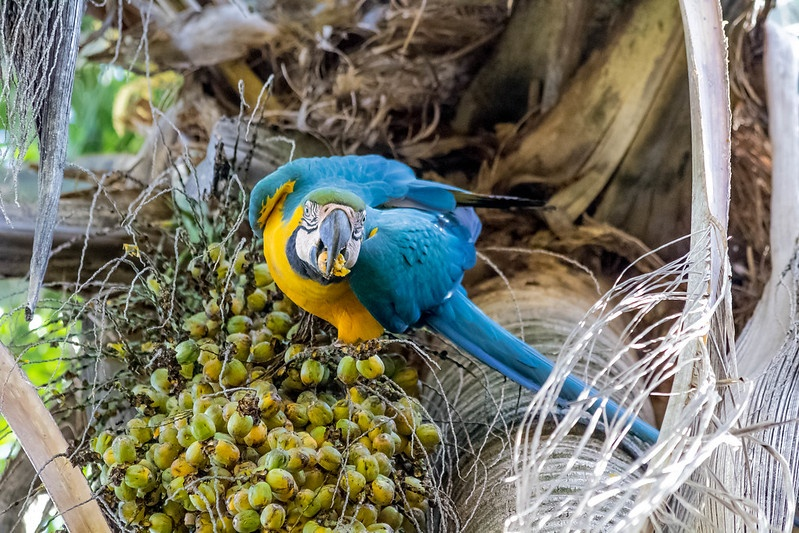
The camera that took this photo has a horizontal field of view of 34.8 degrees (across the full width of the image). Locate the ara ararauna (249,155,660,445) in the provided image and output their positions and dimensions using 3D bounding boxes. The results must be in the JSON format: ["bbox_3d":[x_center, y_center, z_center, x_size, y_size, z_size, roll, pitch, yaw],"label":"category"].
[{"bbox_3d":[0.304,0.103,4.679,1.940,0.957,0.624,14,2,-23],"label":"ara ararauna"}]
